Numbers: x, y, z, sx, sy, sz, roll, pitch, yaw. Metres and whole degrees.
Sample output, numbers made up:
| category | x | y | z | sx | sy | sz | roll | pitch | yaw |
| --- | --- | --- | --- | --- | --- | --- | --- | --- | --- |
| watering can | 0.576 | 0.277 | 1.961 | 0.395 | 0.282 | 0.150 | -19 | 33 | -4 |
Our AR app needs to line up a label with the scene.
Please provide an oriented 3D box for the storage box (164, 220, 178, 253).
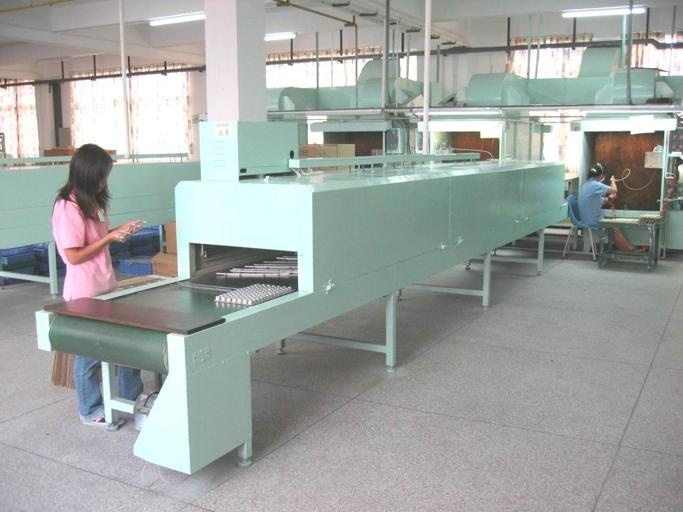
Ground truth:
| category | x | y | z | sx | sy | sz | roll | pitch | yaw |
| --- | --- | --- | --- | --- | --- | --- | --- | --- | --- |
| storage box | -2.211 | -0.242 | 6.886 | 0.122 | 0.351 | 0.457 | -4 | 13 | -16 |

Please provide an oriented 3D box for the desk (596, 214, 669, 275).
| category | x | y | z | sx | sy | sz | roll | pitch | yaw |
| --- | --- | --- | --- | --- | --- | --- | --- | --- | --- |
| desk | 4.350 | -0.259 | 8.015 | 0.938 | 0.825 | 1.160 | 3 | 11 | 30 |

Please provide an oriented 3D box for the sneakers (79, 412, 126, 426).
| category | x | y | z | sx | sy | sz | roll | pitch | yaw |
| --- | --- | --- | --- | --- | --- | --- | --- | --- | --- |
| sneakers | -1.527 | 1.047 | 3.393 | 0.261 | 0.095 | 0.097 | 0 | 9 | -1 |

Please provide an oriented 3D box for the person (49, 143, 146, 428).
| category | x | y | z | sx | sy | sz | roll | pitch | yaw |
| --- | --- | --- | --- | --- | --- | --- | --- | --- | --- |
| person | -1.506 | 0.188 | 3.336 | 0.442 | 1.746 | 0.567 | -7 | 15 | -28 |

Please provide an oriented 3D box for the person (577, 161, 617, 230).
| category | x | y | z | sx | sy | sz | roll | pitch | yaw |
| --- | --- | --- | --- | --- | --- | --- | --- | --- | --- |
| person | 4.036 | -0.977 | 8.406 | 0.527 | 0.942 | 1.363 | 6 | 14 | 26 |
